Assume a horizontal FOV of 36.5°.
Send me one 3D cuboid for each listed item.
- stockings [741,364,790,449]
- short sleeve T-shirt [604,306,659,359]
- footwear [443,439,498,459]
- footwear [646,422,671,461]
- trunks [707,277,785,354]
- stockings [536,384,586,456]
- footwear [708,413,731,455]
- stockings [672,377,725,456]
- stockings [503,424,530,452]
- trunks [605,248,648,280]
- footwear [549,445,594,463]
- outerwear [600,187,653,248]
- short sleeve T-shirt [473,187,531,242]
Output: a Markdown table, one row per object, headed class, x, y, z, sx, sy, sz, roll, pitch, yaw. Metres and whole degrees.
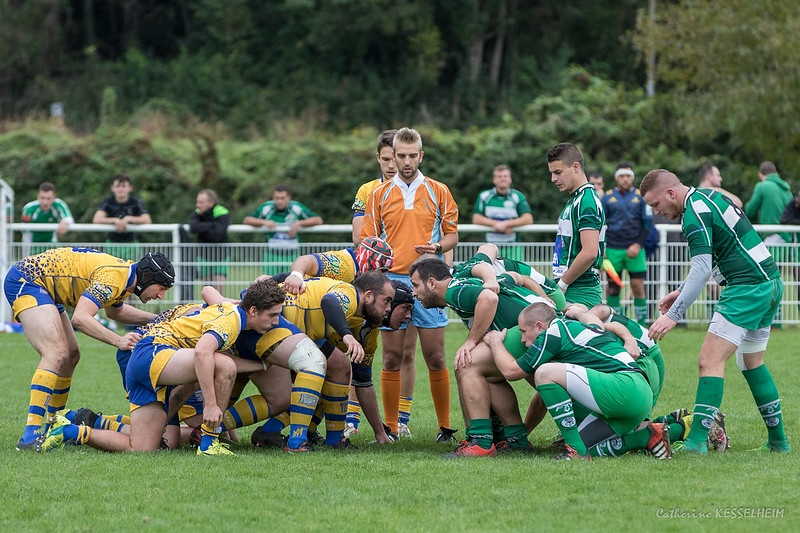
| class | x | y | z | sx | sy | sz | roll | pitch | yaw |
| --- | --- | --- | --- | --- | --- | --- | --- | --- | --- |
| stockings | 4.337 | 1.636 | 14.310 | 0.374 | 0.978 | 0.593 | 0 | 2 | -35 |
| short sleeve T-shirt | 2.763 | 0.780 | 14.325 | 0.705 | 0.206 | 0.443 | 34 | 36 | 1 |
| footwear | 0.810 | 2.111 | 14.104 | 0.633 | 0.236 | 0.221 | 1 | -12 | -2 |
| footwear | 2.939 | 1.989 | 13.856 | 0.203 | 0.493 | 0.171 | -13 | -13 | -1 |
| trunks | 4.156 | 0.591 | 14.672 | 0.496 | 1.002 | 0.805 | 6 | -14 | 39 |
| stockings | 1.851 | 1.742 | 13.969 | 0.200 | 0.811 | 0.240 | -28 | 0 | -7 |
| footwear | 3.716 | 1.923 | 14.208 | 0.182 | 0.493 | 0.219 | 3 | 6 | 9 |
| stockings | 3.469 | 1.699 | 14.091 | 0.467 | 0.867 | 0.232 | 1 | 1 | 12 |
| stockings | 1.357 | 1.995 | 14.243 | 0.309 | 0.343 | 0.253 | 0 | 3 | 13 |
| trunks | 3.720 | -0.094 | 19.924 | 0.687 | 0.726 | 0.432 | -5 | 16 | 15 |
| footwear | 1.954 | 2.100 | 13.793 | 0.403 | 0.158 | 0.180 | 1 | 1 | 3 |
| outerwear | 3.512 | -0.752 | 18.919 | 0.904 | 1.189 | 0.615 | -1 | -4 | 1 |
| short sleeve T-shirt | 1.655 | -0.846 | 19.945 | 0.876 | 0.929 | 0.341 | 0 | -7 | 1 |
